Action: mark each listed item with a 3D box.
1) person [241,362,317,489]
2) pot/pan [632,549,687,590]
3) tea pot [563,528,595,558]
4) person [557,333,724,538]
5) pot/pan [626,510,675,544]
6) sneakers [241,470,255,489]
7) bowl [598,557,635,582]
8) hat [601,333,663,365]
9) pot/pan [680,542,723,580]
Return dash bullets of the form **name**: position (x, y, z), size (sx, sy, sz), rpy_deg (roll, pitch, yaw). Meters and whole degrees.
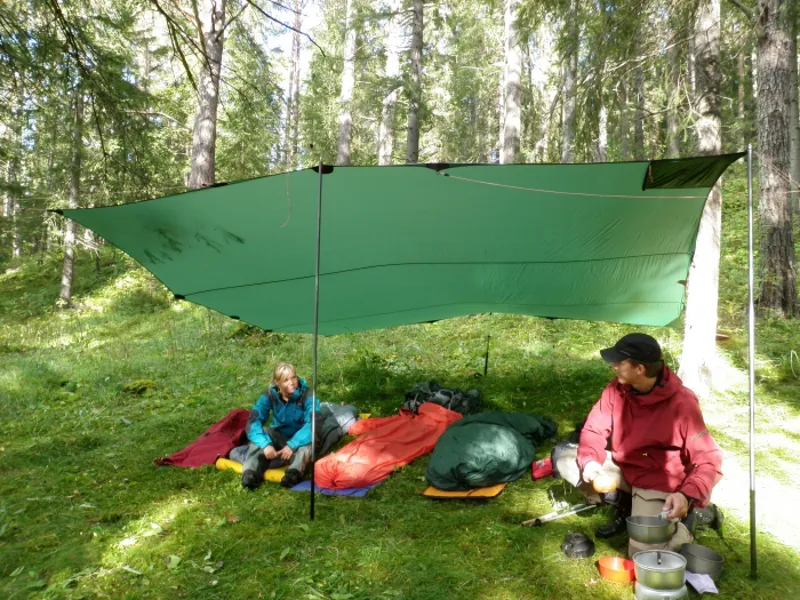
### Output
- **person**: position (-1.409, 1.448, 8.528), size (0.764, 1.311, 1.631), rpy_deg (0, 1, 3)
- **pot/pan**: position (2.304, 2.340, 6.353), size (0.345, 0.305, 0.351), rpy_deg (-1, -5, 2)
- **tea pot**: position (1.724, 2.379, 6.941), size (0.306, 0.179, 0.166), rpy_deg (-2, 12, 11)
- **person**: position (2.309, 1.267, 6.994), size (1.507, 1.918, 0.961), rpy_deg (2, 13, 26)
- **pot/pan**: position (2.302, 2.092, 6.559), size (0.314, 0.145, 0.308), rpy_deg (12, -18, -32)
- **sneakers**: position (-1.674, 2.013, 8.084), size (0.150, 0.187, 0.173), rpy_deg (1, 31, 0)
- **bowl**: position (2.007, 2.517, 6.707), size (0.315, 0.180, 0.208), rpy_deg (-3, 12, 5)
- **hat**: position (2.258, 0.476, 6.970), size (0.451, 0.227, 0.313), rpy_deg (5, 0, 17)
- **pot/pan**: position (2.781, 2.403, 6.663), size (0.315, 0.213, 0.317), rpy_deg (6, -7, -36)
